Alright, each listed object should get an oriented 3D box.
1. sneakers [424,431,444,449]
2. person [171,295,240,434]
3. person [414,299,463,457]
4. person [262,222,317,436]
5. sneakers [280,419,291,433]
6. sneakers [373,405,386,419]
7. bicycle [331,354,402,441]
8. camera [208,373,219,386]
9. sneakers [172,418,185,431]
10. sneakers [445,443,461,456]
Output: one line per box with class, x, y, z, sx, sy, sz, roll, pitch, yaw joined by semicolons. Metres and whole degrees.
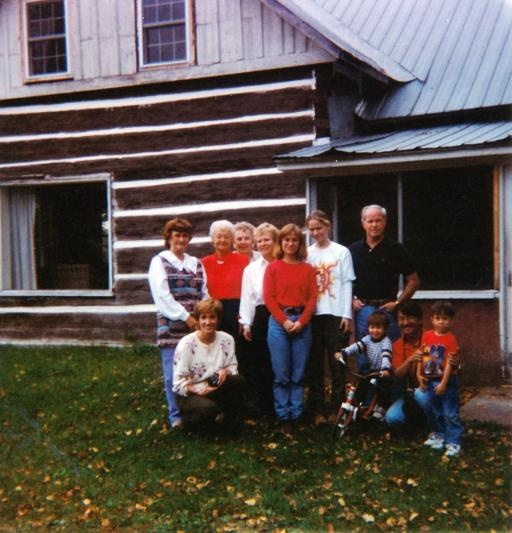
sneakers;1.567;1.529;7.529;0.140;0.078;0.194;-1;-5;15
person;-0.440;0.864;7.774;0.616;1.144;0.280;-2;4;-5
person;1.590;0.964;7.488;0.402;1.319;0.278;0;4;26
person;0.319;0.519;7.787;0.483;1.797;0.264;-2;4;3
sneakers;0.256;1.448;7.777;0.114;0.073;0.104;-5;-4;39
sneakers;1.111;1.309;7.745;0.116;0.111;0.102;8;23;25
bicycle;0.953;1.199;7.755;0.818;0.496;0.436;-11;0;-42
camera;-0.375;1.028;7.772;0.113;0.100;0.108;5;-7;-16
sneakers;-0.724;1.467;7.990;0.117;0.082;0.114;-2;-17;-14
sneakers;1.701;1.586;7.388;0.093;0.102;0.115;-2;-12;5
